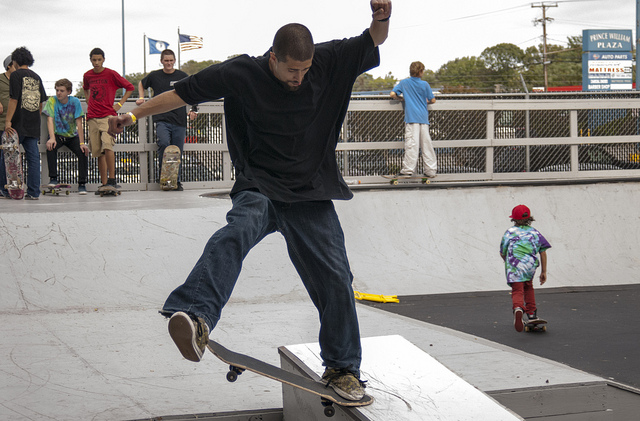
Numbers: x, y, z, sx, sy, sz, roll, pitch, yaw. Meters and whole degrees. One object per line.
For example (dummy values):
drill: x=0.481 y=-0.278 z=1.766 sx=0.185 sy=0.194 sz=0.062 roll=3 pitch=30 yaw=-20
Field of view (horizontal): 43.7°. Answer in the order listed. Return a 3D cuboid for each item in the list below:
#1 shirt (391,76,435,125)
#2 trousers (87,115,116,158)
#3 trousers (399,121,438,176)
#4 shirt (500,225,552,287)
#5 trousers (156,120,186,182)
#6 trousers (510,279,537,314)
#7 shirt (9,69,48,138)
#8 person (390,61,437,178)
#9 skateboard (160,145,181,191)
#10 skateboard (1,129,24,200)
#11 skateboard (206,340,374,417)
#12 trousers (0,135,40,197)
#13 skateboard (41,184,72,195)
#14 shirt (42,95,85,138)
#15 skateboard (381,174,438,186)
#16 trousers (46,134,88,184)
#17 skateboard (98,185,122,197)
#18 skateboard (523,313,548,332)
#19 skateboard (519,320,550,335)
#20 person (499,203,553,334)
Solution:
shirt: x=1.948 y=-2.197 z=15.891 sx=0.825 sy=0.952 sz=0.458 roll=-1 pitch=5 yaw=1
trousers: x=-3.763 y=-1.273 z=13.718 sx=0.406 sy=0.682 sz=0.484 roll=-3 pitch=6 yaw=-16
trousers: x=2.026 y=-1.232 z=15.854 sx=0.734 sy=1.089 sz=0.369 roll=-1 pitch=6 yaw=5
shirt: x=2.712 y=0.659 z=10.439 sx=0.667 sy=1.315 sz=0.384 roll=2 pitch=11 yaw=12
trousers: x=-2.738 y=-1.051 z=14.780 sx=0.561 sy=1.590 sz=0.506 roll=9 pitch=-30 yaw=-23
trousers: x=2.642 y=1.113 z=10.092 sx=0.292 sy=0.393 sz=0.313 roll=-1 pitch=5 yaw=7
shirt: x=-4.866 y=-1.778 z=13.266 sx=0.275 sy=1.131 sz=0.728 roll=2 pitch=7 yaw=35
person: x=1.999 y=-1.805 z=15.848 sx=0.899 sy=2.287 sz=0.755 roll=-3 pitch=6 yaw=-11
skateboard: x=-2.775 y=-0.745 z=15.032 sx=0.394 sy=0.234 sz=1.264 roll=14 pitch=-29 yaw=-3
skateboard: x=-5.061 y=-0.749 z=13.114 sx=0.296 sy=1.140 sz=0.340 roll=-4 pitch=6 yaw=-22
skateboard: x=-0.249 y=1.761 z=8.170 sx=1.507 sy=0.242 sz=0.343 roll=25 pitch=9 yaw=-19
trousers: x=-4.926 y=-0.749 z=13.138 sx=0.666 sy=1.091 sz=0.254 roll=5 pitch=10 yaw=14
skateboard: x=-4.762 y=-0.379 z=14.417 sx=0.509 sy=0.183 sz=0.786 roll=-3 pitch=5 yaw=-18
shirt: x=-4.562 y=-1.632 z=14.125 sx=0.806 sy=0.714 sz=0.383 roll=-3 pitch=1 yaw=-21
skateboard: x=1.735 y=-0.609 z=15.757 sx=1.423 sy=0.217 sz=0.331 roll=0 pitch=9 yaw=-7
trousers: x=-4.527 y=-0.913 z=14.318 sx=0.689 sy=0.887 sz=0.689 roll=-3 pitch=6 yaw=-17
skateboard: x=-3.767 y=-0.338 z=14.114 sx=0.485 sy=0.261 sz=0.170 roll=2 pitch=8 yaw=4
skateboard: x=2.681 y=1.447 z=10.057 sx=0.439 sy=0.224 sz=0.137 roll=0 pitch=5 yaw=-9
skateboard: x=2.750 y=1.456 z=9.971 sx=0.360 sy=0.163 sz=0.278 roll=0 pitch=5 yaw=14
person: x=2.659 y=0.740 z=10.170 sx=0.605 sy=1.547 sz=0.821 roll=0 pitch=6 yaw=20
